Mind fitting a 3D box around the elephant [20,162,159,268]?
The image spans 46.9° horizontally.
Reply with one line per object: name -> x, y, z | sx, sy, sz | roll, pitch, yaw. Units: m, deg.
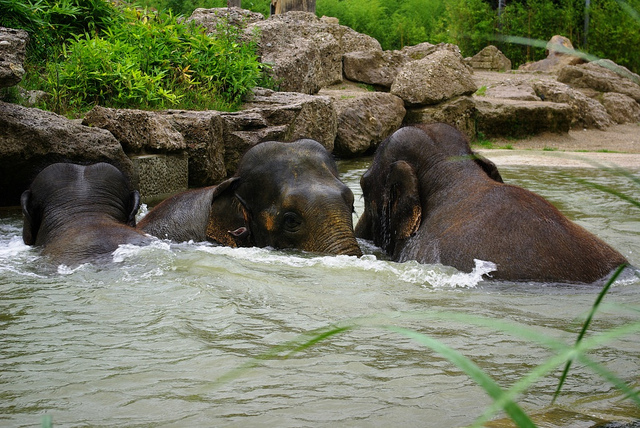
elephant -> -2.044, 0.138, 6.335 | 0.740, 0.783, 1.451 | -4, 25, -19

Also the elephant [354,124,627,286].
elephant -> 1.114, -0.044, 6.267 | 1.033, 1.342, 2.435 | -15, 27, -33

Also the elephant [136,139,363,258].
elephant -> -0.493, -0.168, 6.580 | 2.032, 0.953, 0.571 | 7, 14, 23
